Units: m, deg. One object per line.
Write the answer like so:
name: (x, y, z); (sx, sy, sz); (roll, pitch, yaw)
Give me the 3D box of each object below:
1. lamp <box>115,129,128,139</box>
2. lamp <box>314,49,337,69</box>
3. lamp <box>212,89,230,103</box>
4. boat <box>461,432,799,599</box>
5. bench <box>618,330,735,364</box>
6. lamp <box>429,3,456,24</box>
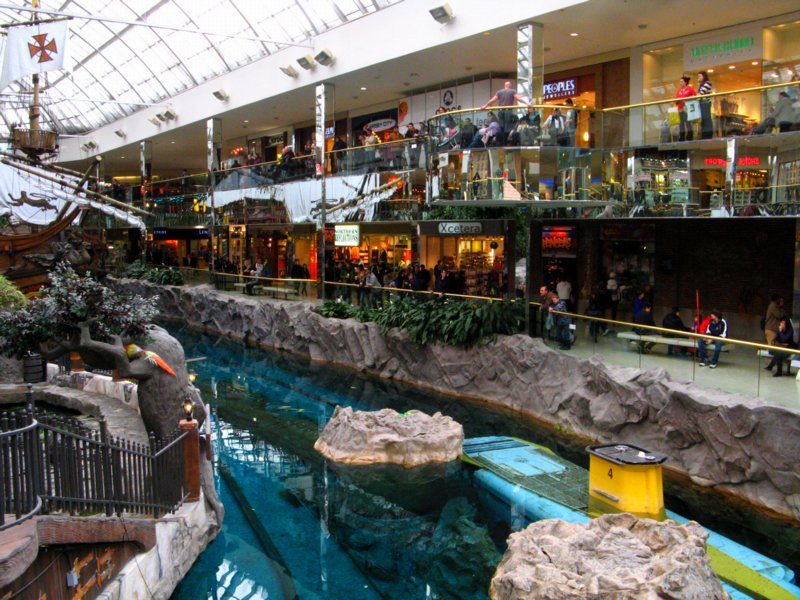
lamp: (-21.271, -12.726, 42.118); (0.865, 0.885, 0.216); (32, 19, 25)
lamp: (-3.274, -10.375, 23.780); (0.692, 0.566, 0.638); (-29, 13, 15)
lamp: (-9.959, -11.284, 30.581); (0.624, 0.367, 0.869); (22, -11, -32)
boat: (3.318, 4.308, 10.068); (1.536, 1.017, 6.745); (-2, 7, -21)
bench: (5.882, 0.945, 12.582); (0.168, 0.536, 2.064); (-7, 9, -30)
lamp: (1.479, -9.788, 18.963); (0.556, 0.425, 0.554); (3, -15, 37)
